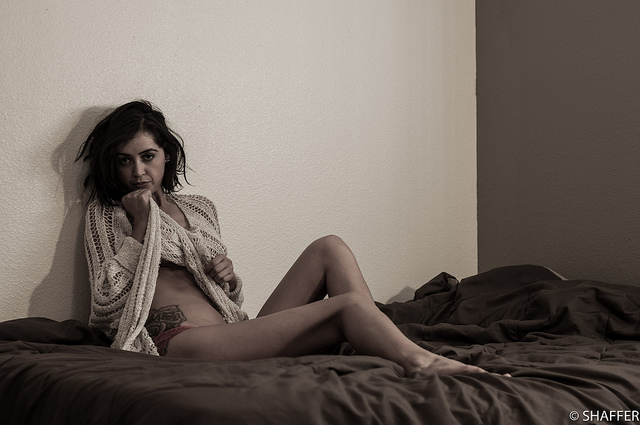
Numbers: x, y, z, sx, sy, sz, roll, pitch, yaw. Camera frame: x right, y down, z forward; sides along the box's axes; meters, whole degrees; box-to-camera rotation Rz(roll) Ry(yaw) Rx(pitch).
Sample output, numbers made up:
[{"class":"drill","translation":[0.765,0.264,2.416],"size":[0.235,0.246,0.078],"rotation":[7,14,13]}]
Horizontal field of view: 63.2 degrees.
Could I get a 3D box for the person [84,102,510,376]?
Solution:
[{"class":"person","translation":[-0.147,0.162,2.336],"size":[1.901,1.094,0.857],"rotation":[1,0,20]}]
